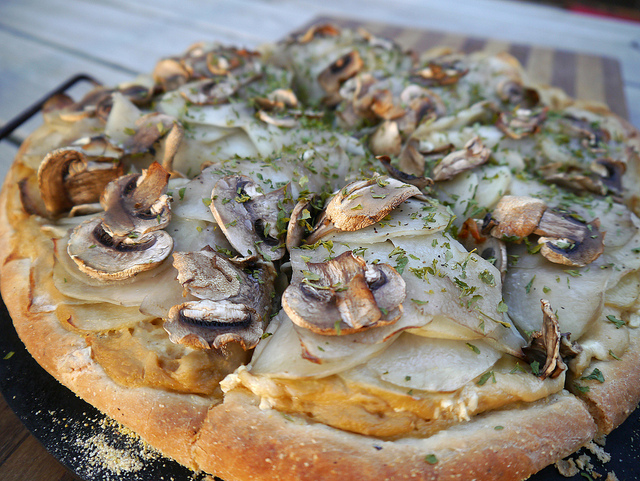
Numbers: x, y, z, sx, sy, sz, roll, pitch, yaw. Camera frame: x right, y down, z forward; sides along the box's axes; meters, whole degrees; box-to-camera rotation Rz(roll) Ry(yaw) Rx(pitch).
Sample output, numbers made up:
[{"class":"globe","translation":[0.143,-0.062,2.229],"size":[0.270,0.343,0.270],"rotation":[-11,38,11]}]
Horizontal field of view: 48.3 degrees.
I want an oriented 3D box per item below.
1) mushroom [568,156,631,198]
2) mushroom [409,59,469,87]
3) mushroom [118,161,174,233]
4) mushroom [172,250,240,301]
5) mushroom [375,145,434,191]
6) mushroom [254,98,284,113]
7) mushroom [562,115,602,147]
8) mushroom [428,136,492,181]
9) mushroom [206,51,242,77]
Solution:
[{"class":"mushroom","translation":[1.949,-0.413,5.112],"size":[0.365,0.102,0.325],"rotation":[-28,70,-23]},{"class":"mushroom","translation":[0.917,-1.289,5.507],"size":[0.355,0.074,0.211],"rotation":[-1,35,4]},{"class":"mushroom","translation":[-1.064,-0.242,4.449],"size":[0.444,0.110,0.405],"rotation":[-16,67,6]},{"class":"mushroom","translation":[-0.662,0.200,4.142],"size":[0.356,0.080,0.274],"rotation":[32,42,-3]},{"class":"mushroom","translation":[0.473,-0.488,4.956],"size":[0.331,0.386,0.129],"rotation":[-46,71,10]},{"class":"mushroom","translation":[-0.371,-0.983,5.179],"size":[0.174,0.038,0.098],"rotation":[17,26,-21]},{"class":"mushroom","translation":[1.927,-0.841,5.264],"size":[0.069,0.299,0.178],"rotation":[46,74,-6]},{"class":"mushroom","translation":[0.948,-0.543,4.897],"size":[0.489,0.108,0.232],"rotation":[-16,47,-8]},{"class":"mushroom","translation":[-0.750,-1.371,5.491],"size":[0.249,0.072,0.233],"rotation":[-30,63,-31]}]
